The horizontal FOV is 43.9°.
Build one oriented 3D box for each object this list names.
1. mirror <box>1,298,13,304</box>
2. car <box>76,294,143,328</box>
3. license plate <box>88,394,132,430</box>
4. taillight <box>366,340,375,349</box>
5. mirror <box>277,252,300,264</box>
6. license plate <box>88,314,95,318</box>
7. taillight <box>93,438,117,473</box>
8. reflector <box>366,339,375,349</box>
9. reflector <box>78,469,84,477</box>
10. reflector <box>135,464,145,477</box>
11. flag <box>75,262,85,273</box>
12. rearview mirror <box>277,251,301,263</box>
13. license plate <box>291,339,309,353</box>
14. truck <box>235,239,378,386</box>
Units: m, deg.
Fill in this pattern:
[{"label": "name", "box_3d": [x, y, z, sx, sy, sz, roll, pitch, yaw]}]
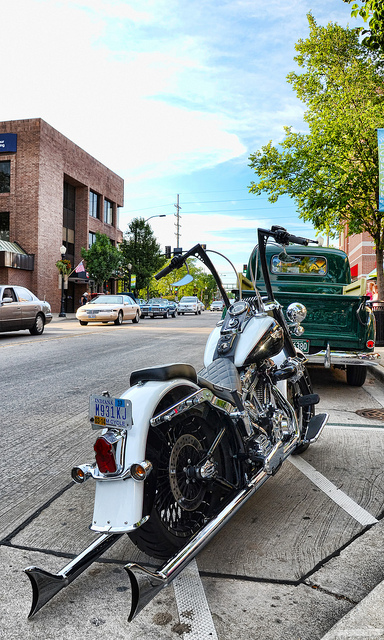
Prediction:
[{"label": "mirror", "box_3d": [-6.062, -0.624, 15.509, 0.155, 0.186, 0.612, 0, -1, 12]}, {"label": "car", "box_3d": [-4.111, -0.610, 25.285, 1.569, 1.270, 3.656, -2, -3, 15]}, {"label": "license plate", "box_3d": [-0.327, 0.370, 1.886, 0.256, 0.109, 0.029, 0, -1, 43]}, {"label": "taillight", "box_3d": [2.538, 0.346, 6.740, 0.095, 0.105, 0.035, -2, -2, -4]}, {"label": "mirror", "box_3d": [0.680, -0.449, 3.411, 0.181, 0.064, 0.094, 10, -35, 43]}, {"label": "license plate", "box_3d": [-5.002, -0.195, 23.617, 0.239, 0.187, 0.138, 1, 14, 0]}, {"label": "taillight", "box_3d": [-0.337, 0.527, 1.822, 0.074, 0.150, 0.033, 5, 9, 31]}, {"label": "reflector", "box_3d": [2.560, 0.339, 6.800, 0.067, 0.117, 0.221, 0, -1, 43]}, {"label": "reflector", "box_3d": [-0.452, 0.626, 1.926, 0.026, 0.028, 0.009, -4, 11, 38]}, {"label": "reflector", "box_3d": [-0.192, 0.555, 1.742, 0.044, 0.034, 0.007, 0, 0, 33]}, {"label": "flag", "box_3d": [-8.796, -4.211, 37.228, 0.519, 0.679, 1.238, 1, -1, -9]}, {"label": "rearview mirror", "box_3d": [0.679, -0.444, 3.400, 0.182, 0.098, 0.064, 1, 18, 36]}, {"label": "license plate", "box_3d": [1.331, 0.325, 5.815, 0.261, 0.203, 0.038, -1, -21, 7]}, {"label": "truck", "box_3d": [1.764, -0.186, 7.233, 2.001, 1.938, 3.177, 1, 7, 11]}]
